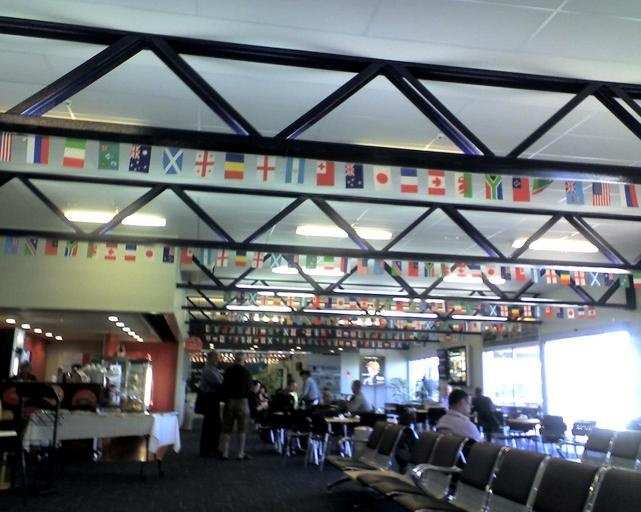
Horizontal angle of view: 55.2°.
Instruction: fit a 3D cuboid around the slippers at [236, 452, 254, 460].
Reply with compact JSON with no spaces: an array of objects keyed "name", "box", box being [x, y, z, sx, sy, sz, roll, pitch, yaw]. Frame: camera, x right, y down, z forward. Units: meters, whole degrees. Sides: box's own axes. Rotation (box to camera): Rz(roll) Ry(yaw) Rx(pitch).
[{"name":"slippers","box":[-1.281,3.367,10.261,0.138,0.109,0.270,-1,-7,26]}]
